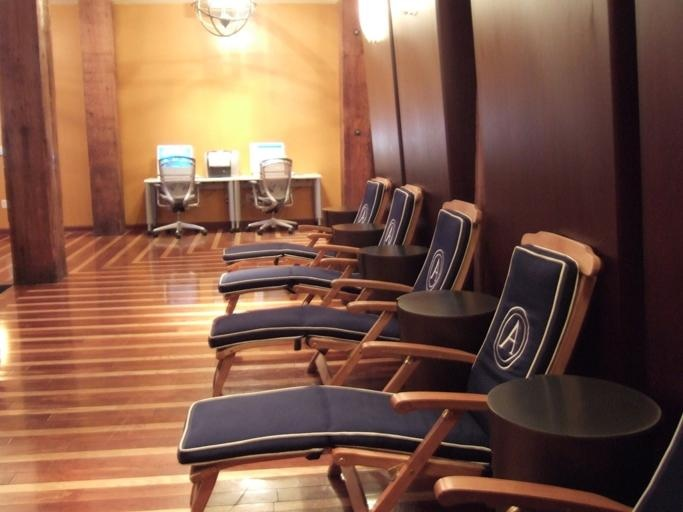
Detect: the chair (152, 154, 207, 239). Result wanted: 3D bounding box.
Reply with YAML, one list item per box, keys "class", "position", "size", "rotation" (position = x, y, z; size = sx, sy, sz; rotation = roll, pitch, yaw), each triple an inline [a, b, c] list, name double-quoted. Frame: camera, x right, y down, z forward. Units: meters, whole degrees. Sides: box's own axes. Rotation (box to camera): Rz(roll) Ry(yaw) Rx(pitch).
- class: "chair"
  position: [-2.435, -0.914, 8.555]
  size: [1.011, 1.121, 1.003]
  rotation: [-10, 12, -42]

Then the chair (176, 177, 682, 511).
- class: "chair"
  position: [0.289, 0.313, 2.651]
  size: [1.734, 1.044, 1.231]
  rotation: [-1, 5, -2]

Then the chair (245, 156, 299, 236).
- class: "chair"
  position: [-1.114, -0.973, 9.233]
  size: [0.741, 1.127, 0.822]
  rotation: [8, 13, 38]
